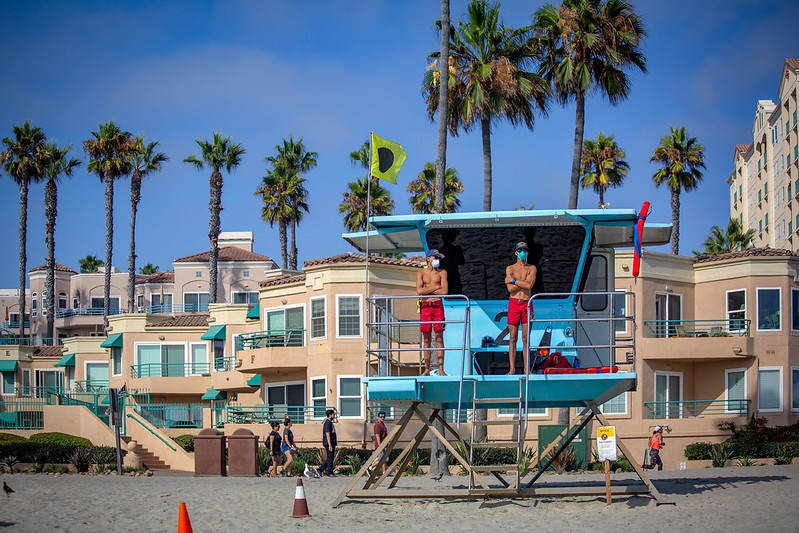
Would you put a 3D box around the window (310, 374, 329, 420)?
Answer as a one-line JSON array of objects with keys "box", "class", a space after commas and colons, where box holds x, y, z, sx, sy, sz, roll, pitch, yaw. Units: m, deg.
[{"box": [-4.662, 7.133, 87.921, 0.991, 0.190, 2.245, -11, -44, -13], "class": "window"}]

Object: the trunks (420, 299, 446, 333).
[{"box": [1.441, 2.164, 67.366, 1.167, 1.332, 0.751, 2, 3, 15], "class": "trunks"}]

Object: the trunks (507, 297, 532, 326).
[{"box": [5.084, 1.888, 66.921, 0.928, 1.186, 0.495, -5, -7, 31], "class": "trunks"}]

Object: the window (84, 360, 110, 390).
[{"box": [-21.225, 7.499, 108.252, 1.750, 2.170, 0.270, -2, -13, 5], "class": "window"}]

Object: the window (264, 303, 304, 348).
[{"box": [-6.644, 3.400, 89.915, 2.280, 2.062, 0.186, -3, -5, 44], "class": "window"}]

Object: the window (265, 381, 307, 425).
[{"box": [-6.596, 7.871, 89.556, 2.307, 2.648, 0.316, -1, -29, -8], "class": "window"}]
